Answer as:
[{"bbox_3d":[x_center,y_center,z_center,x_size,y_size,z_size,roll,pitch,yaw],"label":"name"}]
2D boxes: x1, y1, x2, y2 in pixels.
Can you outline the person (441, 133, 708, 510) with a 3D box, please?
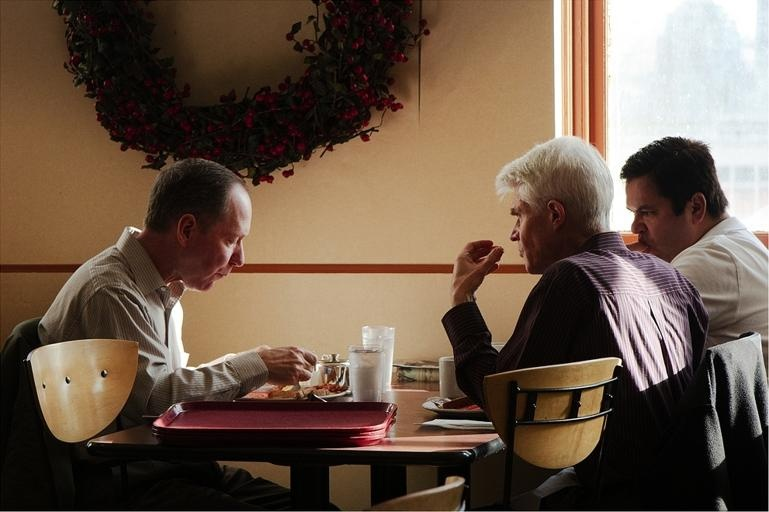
[{"bbox_3d":[0.705,0.167,2.488,1.004,1.414,1.032,-3,-2,43],"label":"person"}]
